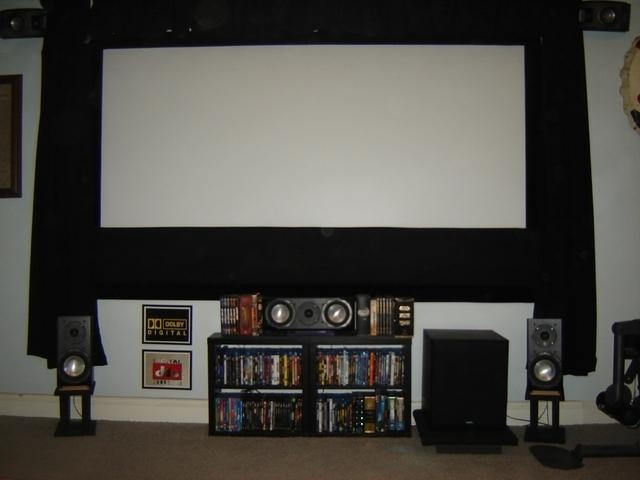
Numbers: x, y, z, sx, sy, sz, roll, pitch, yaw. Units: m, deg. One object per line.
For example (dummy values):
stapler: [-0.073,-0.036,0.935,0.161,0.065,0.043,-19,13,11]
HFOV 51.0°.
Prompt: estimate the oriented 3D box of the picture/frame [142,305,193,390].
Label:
picture/frame: [-1.215,0.855,5.357,0.390,0.650,0.094,0,-6,4]

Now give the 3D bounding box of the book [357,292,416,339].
book: [0.484,0.580,5.096,0.434,0.307,0.095,0,-7,9]

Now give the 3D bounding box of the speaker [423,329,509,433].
speaker: [1.060,1.065,5.160,0.583,0.729,0.624,0,-2,0]

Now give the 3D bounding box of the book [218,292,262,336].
book: [-0.601,0.571,5.117,0.274,0.322,0.291,0,-8,-2]

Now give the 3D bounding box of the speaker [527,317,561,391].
speaker: [1.693,0.857,5.000,0.296,0.525,0.107,2,-7,-11]

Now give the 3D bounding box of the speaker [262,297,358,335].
speaker: [-0.088,0.568,5.118,0.669,0.247,0.102,1,-7,-6]
